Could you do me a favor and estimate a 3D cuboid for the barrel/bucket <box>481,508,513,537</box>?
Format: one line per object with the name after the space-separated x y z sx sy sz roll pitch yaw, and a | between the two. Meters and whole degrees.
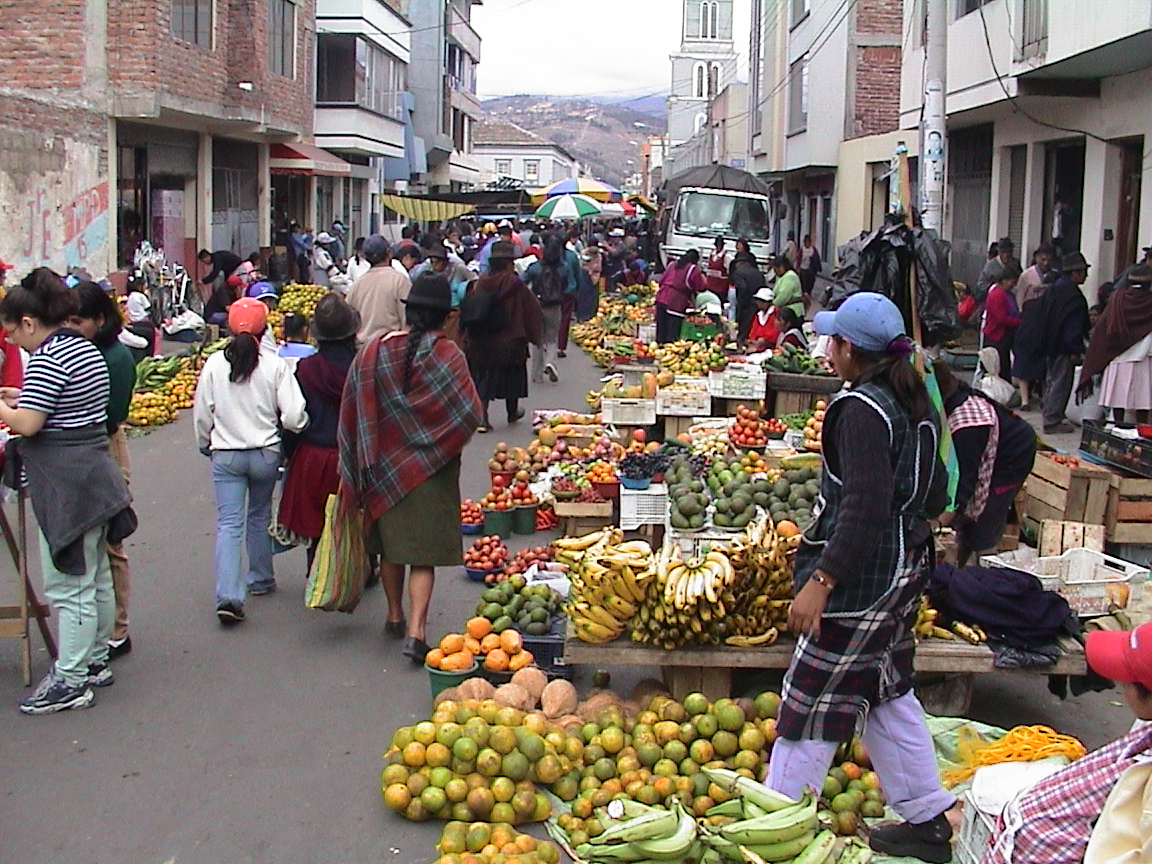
-0.731 0.849 9.020 0.230 0.203 0.246 1 1 0 | barrel/bucket

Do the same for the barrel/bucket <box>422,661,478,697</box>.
-0.731 1.457 5.643 0.236 0.181 0.249 0 -6 0 | barrel/bucket

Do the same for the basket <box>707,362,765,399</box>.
1.906 -0.578 11.315 0.686 0.372 0.505 -2 12 1 | basket

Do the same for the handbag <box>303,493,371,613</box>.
-1.642 0.840 6.627 0.405 0.769 0.450 8 19 -39 | handbag

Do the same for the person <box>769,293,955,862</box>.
1.297 0.554 4.425 0.944 2.183 0.843 2 5 14 | person

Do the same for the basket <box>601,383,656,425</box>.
0.632 -0.265 11.066 0.611 0.426 0.737 -1 12 4 | basket

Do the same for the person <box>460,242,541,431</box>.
-1.016 -1.364 13.411 1.030 2.605 0.981 -1 16 -8 | person

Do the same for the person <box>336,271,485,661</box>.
-1.134 0.246 6.704 1.026 2.599 0.956 2 11 -6 | person

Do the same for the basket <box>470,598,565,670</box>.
-0.353 1.237 5.947 0.658 0.402 0.555 -5 13 -28 | basket

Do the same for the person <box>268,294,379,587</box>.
-1.944 0.039 7.544 0.780 2.099 0.791 4 11 -8 | person

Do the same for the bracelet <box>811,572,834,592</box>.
1.031 0.615 3.981 0.076 0.043 0.069 44 9 4 | bracelet

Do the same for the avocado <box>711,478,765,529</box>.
1.090 0.485 6.489 0.295 0.211 0.496 1 13 12 | avocado

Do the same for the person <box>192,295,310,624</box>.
-2.492 0.191 7.268 0.776 2.378 1.123 0 4 -13 | person

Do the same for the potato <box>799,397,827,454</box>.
2.149 -0.058 8.641 0.162 0.521 0.495 1 15 10 | potato

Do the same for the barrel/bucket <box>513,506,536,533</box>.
-0.484 0.839 9.137 0.220 0.191 0.235 2 5 0 | barrel/bucket

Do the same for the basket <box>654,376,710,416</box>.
1.264 -0.379 11.142 0.626 0.348 0.735 1 13 13 | basket

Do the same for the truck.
3.958 -6.388 27.692 2.032 2.540 4.341 0 10 2 | truck

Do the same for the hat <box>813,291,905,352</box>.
1.253 -0.487 4.201 0.402 0.245 0.219 3 13 23 | hat

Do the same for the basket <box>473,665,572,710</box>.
-0.245 1.459 5.372 0.339 0.153 0.262 4 -1 -9 | basket

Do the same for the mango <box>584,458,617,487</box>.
0.242 0.371 8.801 0.200 0.117 0.190 -7 14 -43 | mango

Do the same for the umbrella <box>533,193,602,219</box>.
-0.282 -7.364 31.018 1.695 0.758 3.156 -3 13 -6 | umbrella
